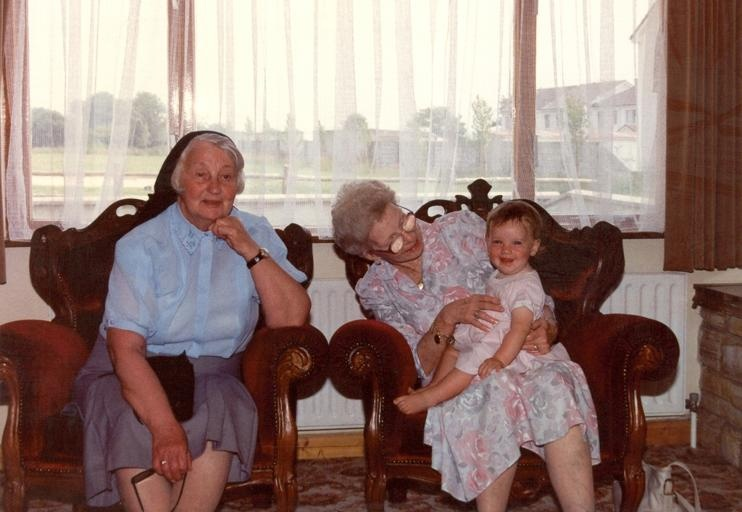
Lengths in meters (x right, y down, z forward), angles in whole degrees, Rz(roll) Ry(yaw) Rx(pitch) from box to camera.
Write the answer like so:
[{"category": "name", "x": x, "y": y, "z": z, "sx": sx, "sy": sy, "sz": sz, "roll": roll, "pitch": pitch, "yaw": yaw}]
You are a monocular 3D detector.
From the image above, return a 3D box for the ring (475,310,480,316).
[{"category": "ring", "x": 0.409, "y": 0.218, "z": 2.595, "sx": 0.018, "sy": 0.019, "sz": 0.005, "roll": -4, "pitch": -8, "yaw": 5}]

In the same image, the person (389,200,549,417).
[{"category": "person", "x": 0.408, "y": 0.192, "z": 2.633, "sx": 0.615, "sy": 0.797, "sz": 0.510, "roll": -3, "pitch": 7, "yaw": -25}]

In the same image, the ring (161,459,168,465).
[{"category": "ring", "x": -0.684, "y": 0.675, "z": 2.227, "sx": 0.012, "sy": 0.016, "sz": 0.009, "roll": 33, "pitch": 17, "yaw": -18}]

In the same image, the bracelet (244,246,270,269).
[{"category": "bracelet", "x": -0.421, "y": 0.007, "z": 2.517, "sx": 0.074, "sy": 0.044, "sz": 0.073, "roll": -45, "pitch": -13, "yaw": 18}]

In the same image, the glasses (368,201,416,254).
[{"category": "glasses", "x": 0.087, "y": -0.099, "z": 2.647, "sx": 0.058, "sy": 0.182, "sz": 0.177, "roll": 39, "pitch": -38, "yaw": -23}]

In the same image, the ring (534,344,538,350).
[{"category": "ring", "x": 0.628, "y": 0.344, "z": 2.568, "sx": 0.011, "sy": 0.016, "sz": 0.014, "roll": -7, "pitch": -19, "yaw": 2}]

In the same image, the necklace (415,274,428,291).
[{"category": "necklace", "x": 0.209, "y": 0.110, "z": 2.791, "sx": 0.042, "sy": 0.066, "sz": 0.015, "roll": 2, "pitch": -3, "yaw": 13}]
